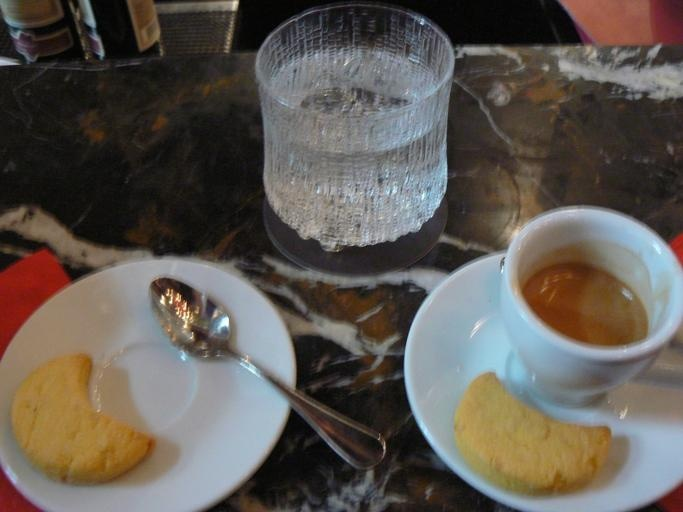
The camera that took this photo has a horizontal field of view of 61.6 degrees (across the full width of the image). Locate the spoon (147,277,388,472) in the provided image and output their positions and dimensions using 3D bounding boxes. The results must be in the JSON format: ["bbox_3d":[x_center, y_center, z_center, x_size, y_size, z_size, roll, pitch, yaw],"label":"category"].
[{"bbox_3d":[-0.072,0.112,0.513,0.207,0.029,0.044,36,54,21],"label":"spoon"}]

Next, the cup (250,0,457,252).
[{"bbox_3d":[0.011,-0.137,0.587,0.184,0.153,0.208,0,56,-2],"label":"cup"}]
